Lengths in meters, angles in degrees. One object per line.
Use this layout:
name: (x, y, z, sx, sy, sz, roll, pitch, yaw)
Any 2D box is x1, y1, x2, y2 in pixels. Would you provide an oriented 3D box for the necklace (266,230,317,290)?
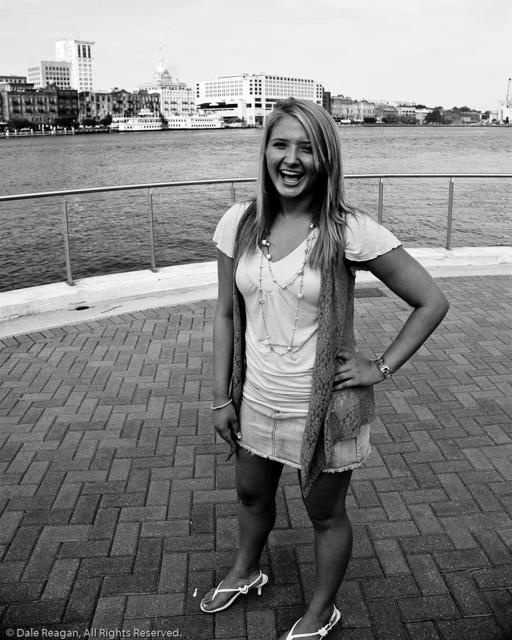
necklace: (0.099, -0.141, 1.270, 0.106, 0.141, 0.176, 2, 20, 8)

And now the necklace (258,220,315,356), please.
necklace: (0.063, -0.089, 1.297, 0.169, 0.296, 0.289, 1, 24, 2)

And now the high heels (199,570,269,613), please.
high heels: (-0.081, 0.913, 1.733, 0.236, 0.090, 0.088, -11, 7, -13)
